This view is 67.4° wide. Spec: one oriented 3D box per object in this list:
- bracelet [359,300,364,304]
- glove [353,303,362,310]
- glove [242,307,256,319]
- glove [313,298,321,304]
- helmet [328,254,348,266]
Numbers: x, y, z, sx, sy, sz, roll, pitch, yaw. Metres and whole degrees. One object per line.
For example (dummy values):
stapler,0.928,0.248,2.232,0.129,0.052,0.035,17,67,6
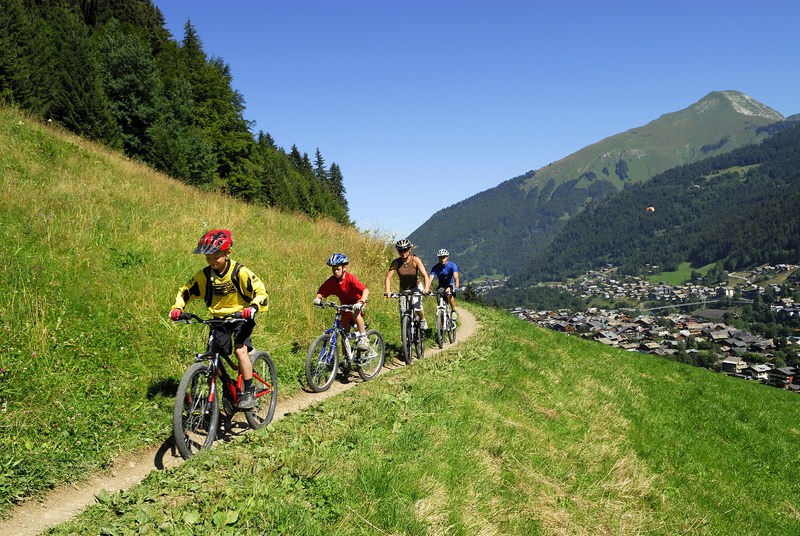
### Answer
bracelet,-1.215,1.063,19.159,0.152,0.113,0.093,5,-4,-8
glove,-1.330,1.222,19.144,0.308,0.241,0.174,7,-4,-25
glove,-3.980,1.189,15.996,0.434,0.366,0.282,7,-5,-32
glove,-2.542,1.019,18.826,0.209,0.209,0.407,5,-4,-2
helmet,-1.884,-0.246,19.065,0.374,0.304,0.558,1,-1,16
